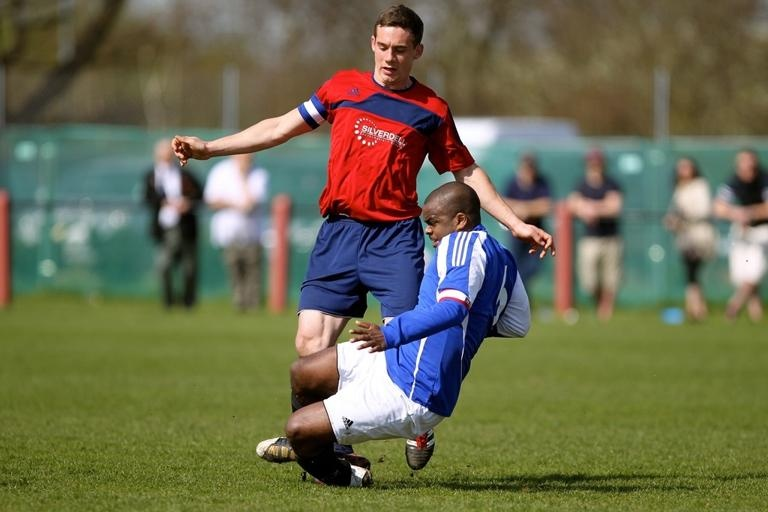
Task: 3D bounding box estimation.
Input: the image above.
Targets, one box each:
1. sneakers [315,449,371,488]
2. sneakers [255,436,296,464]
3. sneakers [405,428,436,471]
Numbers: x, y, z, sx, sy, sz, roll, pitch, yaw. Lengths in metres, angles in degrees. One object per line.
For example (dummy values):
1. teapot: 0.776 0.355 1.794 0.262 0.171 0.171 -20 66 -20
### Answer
1. sneakers: -0.372 1.714 10.519 0.590 0.271 0.205 8 -11 -14
2. sneakers: -0.869 1.593 10.664 0.399 0.201 0.164 5 3 36
3. sneakers: 0.288 1.588 10.668 0.179 0.362 0.168 10 15 12
